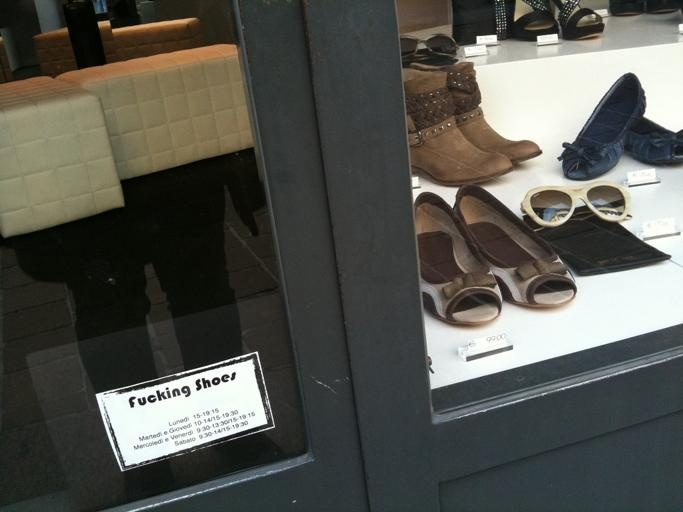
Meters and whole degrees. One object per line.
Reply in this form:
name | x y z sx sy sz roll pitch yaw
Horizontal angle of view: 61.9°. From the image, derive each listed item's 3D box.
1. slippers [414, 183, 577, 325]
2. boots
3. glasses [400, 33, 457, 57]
slippers | 0.245 -0.015 0.906 0.287 0.224 0.090 -12 27 -14
boots | 0.124 -0.213 0.863 0.298 0.131 0.099 25 47 23
glasses | 0.121 -0.289 0.777 0.011 0.039 0.120 20 35 40
